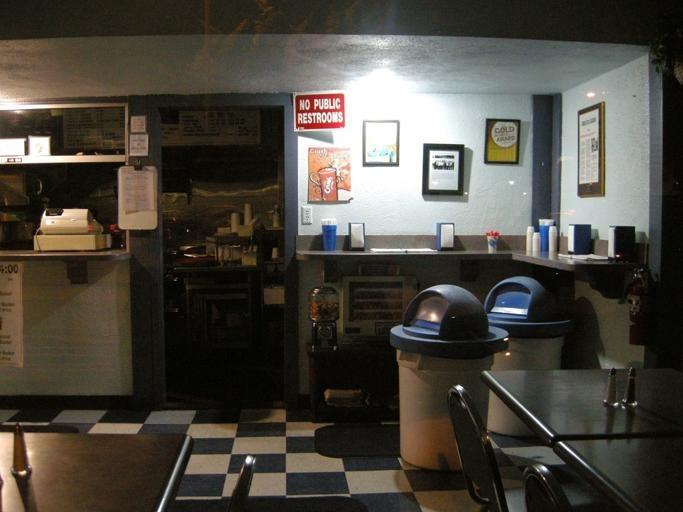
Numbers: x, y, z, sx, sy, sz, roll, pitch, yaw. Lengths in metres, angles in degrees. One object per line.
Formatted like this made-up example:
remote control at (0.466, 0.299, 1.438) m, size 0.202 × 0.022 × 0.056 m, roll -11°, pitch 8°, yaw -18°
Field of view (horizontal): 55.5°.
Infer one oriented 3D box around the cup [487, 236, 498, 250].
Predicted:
cup at (1.098, -0.094, 4.741) m, size 0.090 × 0.096 × 0.089 m, roll 1°, pitch -4°, yaw 0°

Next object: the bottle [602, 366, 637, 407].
bottle at (1.295, 0.613, 3.008) m, size 0.177 × 0.200 × 0.118 m, roll 0°, pitch -2°, yaw 3°

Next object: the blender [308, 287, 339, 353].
blender at (-0.122, 0.439, 4.665) m, size 0.220 × 0.387 × 0.312 m, roll -1°, pitch 11°, yaw -1°

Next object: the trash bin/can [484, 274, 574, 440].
trash bin/can at (1.264, 0.659, 4.503) m, size 0.687 × 1.039 × 0.768 m, roll 2°, pitch 4°, yaw 28°

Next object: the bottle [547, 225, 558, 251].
bottle at (1.467, -0.112, 4.477) m, size 0.058 × 0.177 × 0.087 m, roll 2°, pitch 11°, yaw 10°

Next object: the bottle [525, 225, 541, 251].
bottle at (1.376, -0.120, 4.642) m, size 0.079 × 0.173 × 0.134 m, roll 1°, pitch 11°, yaw 7°

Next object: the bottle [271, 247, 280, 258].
bottle at (-0.681, -0.024, 6.606) m, size 0.086 × 0.090 × 0.089 m, roll 0°, pitch 0°, yaw -27°

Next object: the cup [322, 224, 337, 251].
cup at (-0.090, -0.130, 4.675) m, size 0.088 × 0.193 × 0.065 m, roll 0°, pitch 11°, yaw 0°
